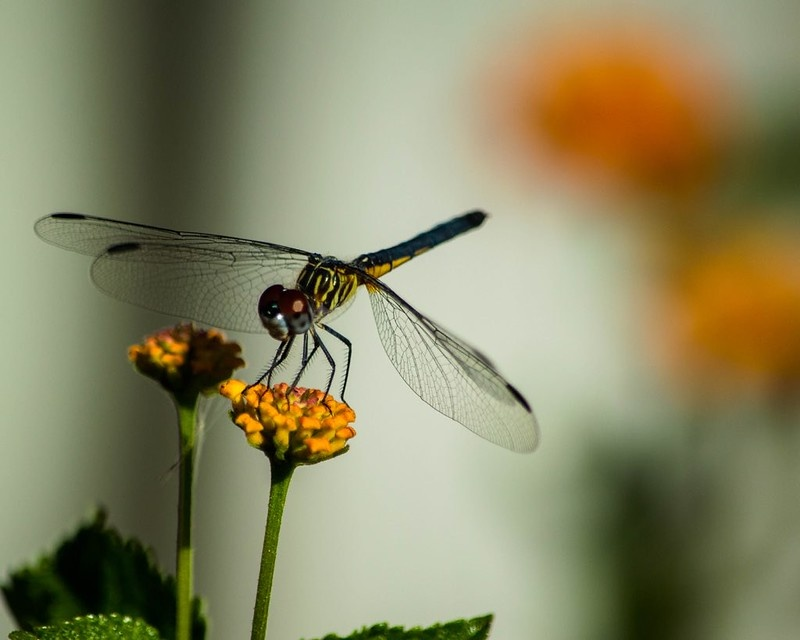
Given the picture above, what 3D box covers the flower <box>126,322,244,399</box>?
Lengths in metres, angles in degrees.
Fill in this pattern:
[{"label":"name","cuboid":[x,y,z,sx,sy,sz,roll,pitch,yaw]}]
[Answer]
[{"label":"flower","cuboid":[-0.217,0.051,0.965,0.113,0.094,0.109,1,2,-37]}]
